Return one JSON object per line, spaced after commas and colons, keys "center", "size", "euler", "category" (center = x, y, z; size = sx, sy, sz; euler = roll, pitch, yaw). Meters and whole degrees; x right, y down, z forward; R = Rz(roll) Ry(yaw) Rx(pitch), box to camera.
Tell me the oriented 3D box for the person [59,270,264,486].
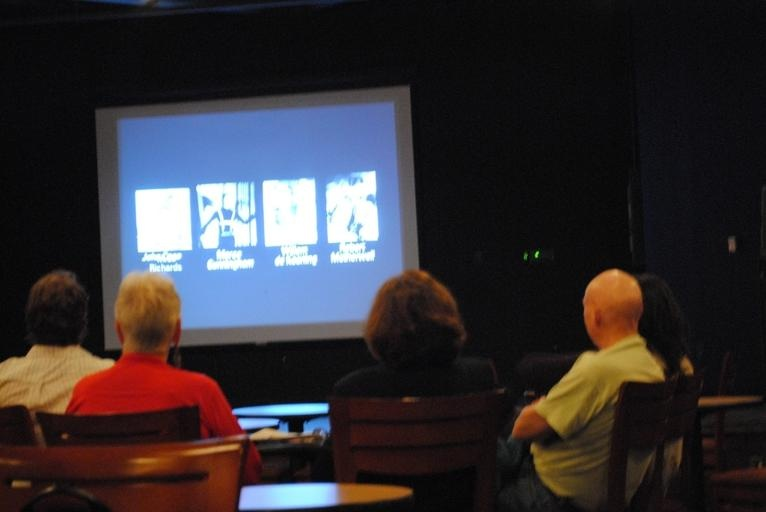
{"center": [-1.138, 0.655, 3.608], "size": [1.132, 1.073, 0.632], "euler": [1, -2, 13], "category": "person"}
